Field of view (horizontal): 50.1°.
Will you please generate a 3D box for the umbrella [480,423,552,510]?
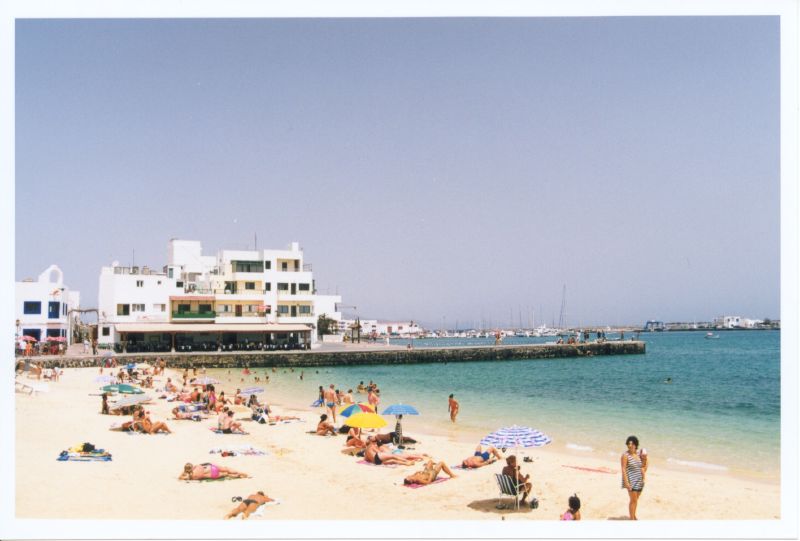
[{"bbox_3d":[3.771,6.604,28.379,2.180,2.862,1.881,2,0,7],"label":"umbrella"}]
